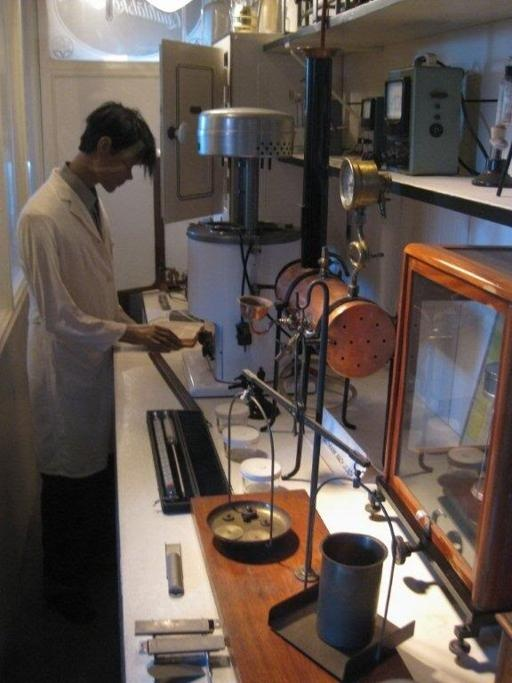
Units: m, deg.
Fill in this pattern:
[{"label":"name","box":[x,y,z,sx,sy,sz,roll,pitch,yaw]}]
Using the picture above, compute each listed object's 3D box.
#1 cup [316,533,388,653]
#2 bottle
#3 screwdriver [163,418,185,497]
[{"label":"cup","box":[0.102,0.283,0.677,0.100,0.120,0.140,1,19,0]},{"label":"bottle","box":[-0.014,0.230,1.145,0.138,0.200,0.142,4,21,-2]},{"label":"screwdriver","box":[-0.188,0.246,1.257,0.031,0.016,0.388,-5,20,-13]}]
